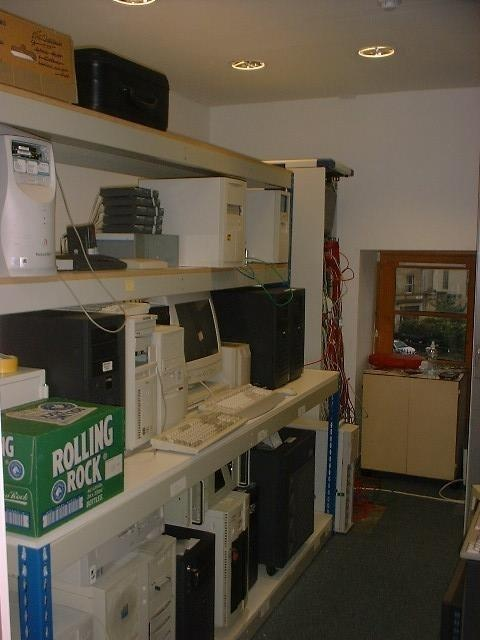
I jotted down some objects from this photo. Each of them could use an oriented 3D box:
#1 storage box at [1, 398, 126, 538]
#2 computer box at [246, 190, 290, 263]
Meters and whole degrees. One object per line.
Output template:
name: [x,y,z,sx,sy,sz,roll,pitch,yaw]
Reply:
storage box: [-0.423,0.324,1.234,0.204,0.234,0.376,2,4,21]
computer box: [0.162,-0.518,2.955,0.282,0.411,0.323,-1,10,-15]
